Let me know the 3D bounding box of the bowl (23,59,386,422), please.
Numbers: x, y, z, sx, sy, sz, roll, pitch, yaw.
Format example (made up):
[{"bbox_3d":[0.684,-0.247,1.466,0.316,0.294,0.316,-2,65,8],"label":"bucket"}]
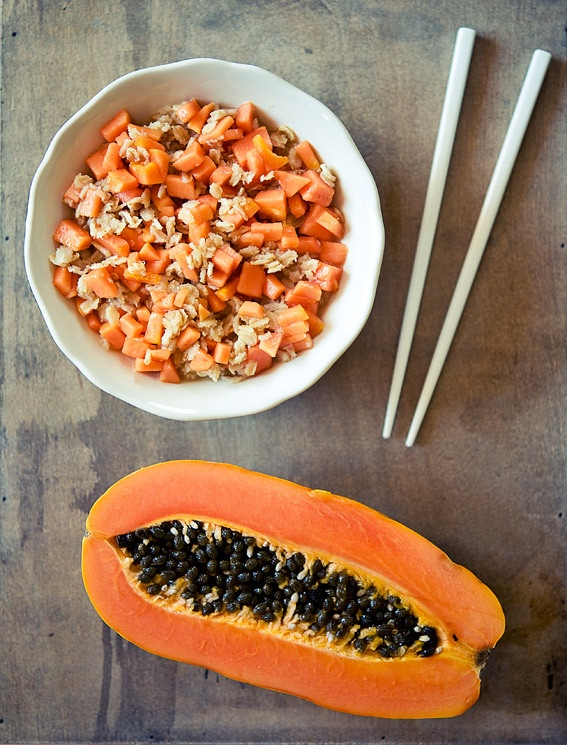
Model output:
[{"bbox_3d":[-0.113,-0.187,1.224,0.505,0.262,0.491,-1,66,3],"label":"bowl"}]
